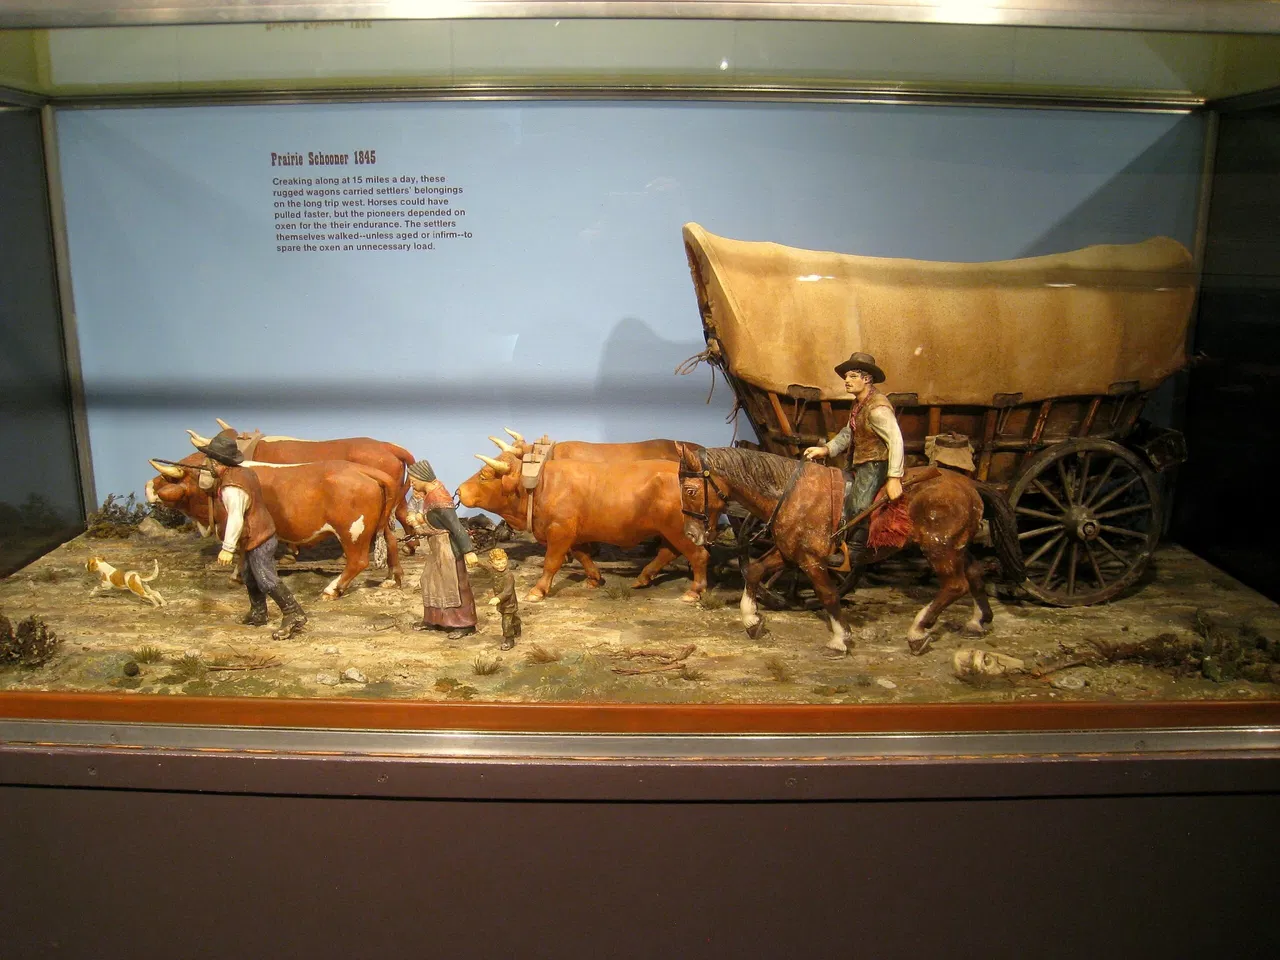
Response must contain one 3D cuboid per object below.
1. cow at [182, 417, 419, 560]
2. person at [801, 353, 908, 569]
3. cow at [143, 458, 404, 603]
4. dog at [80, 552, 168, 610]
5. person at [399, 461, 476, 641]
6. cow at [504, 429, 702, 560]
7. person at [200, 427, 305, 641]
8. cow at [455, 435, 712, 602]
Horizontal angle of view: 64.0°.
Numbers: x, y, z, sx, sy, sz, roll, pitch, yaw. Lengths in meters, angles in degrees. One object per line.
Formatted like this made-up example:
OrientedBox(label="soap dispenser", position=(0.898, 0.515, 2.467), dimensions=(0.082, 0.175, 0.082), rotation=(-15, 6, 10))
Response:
OrientedBox(label="cow", position=(-1.653, 0.199, 5.025), dimensions=(1.388, 0.606, 0.326), rotation=(5, 19, 27))
OrientedBox(label="person", position=(0.890, -0.098, 4.284), dimensions=(0.292, 0.870, 0.335), rotation=(-4, 10, -13))
OrientedBox(label="cow", position=(-1.653, 0.195, 4.779), dimensions=(1.193, 0.491, 0.316), rotation=(5, 9, 12))
OrientedBox(label="dog", position=(-2.201, 0.430, 4.385), dimensions=(0.281, 0.171, 0.368), rotation=(-6, 10, -26))
OrientedBox(label="person", position=(-0.827, 0.270, 4.303), dimensions=(0.238, 0.693, 0.325), rotation=(-4, 10, -12))
OrientedBox(label="cow", position=(-0.251, 0.139, 4.745), dimensions=(1.088, 0.701, 0.366), rotation=(-2, 10, -4))
OrientedBox(label="person", position=(-1.651, 0.210, 4.272), dimensions=(0.559, 0.830, 0.261), rotation=(4, 11, 28))
OrientedBox(label="cow", position=(-0.207, 0.178, 4.835), dimensions=(1.340, 0.595, 0.406), rotation=(3, 8, 17))
